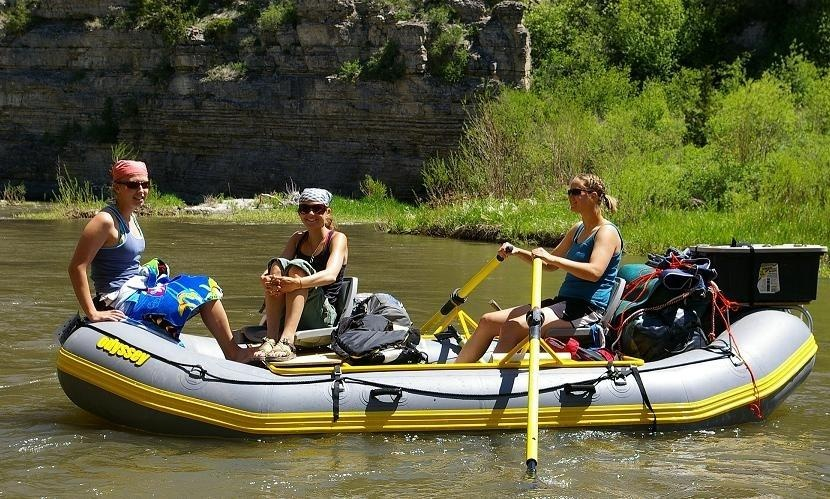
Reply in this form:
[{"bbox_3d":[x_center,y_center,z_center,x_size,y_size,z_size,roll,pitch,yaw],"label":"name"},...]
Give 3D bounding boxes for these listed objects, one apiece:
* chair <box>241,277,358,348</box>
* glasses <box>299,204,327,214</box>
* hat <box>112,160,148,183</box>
[{"bbox_3d":[-2.087,1.261,24.566,1.884,1.089,1.347,-13,15,-21],"label":"chair"},{"bbox_3d":[-2.004,-0.799,24.300,0.556,0.190,0.155,1,5,-5],"label":"glasses"},{"bbox_3d":[-5.469,-1.511,23.924,0.461,0.274,0.530,1,0,38],"label":"hat"}]
